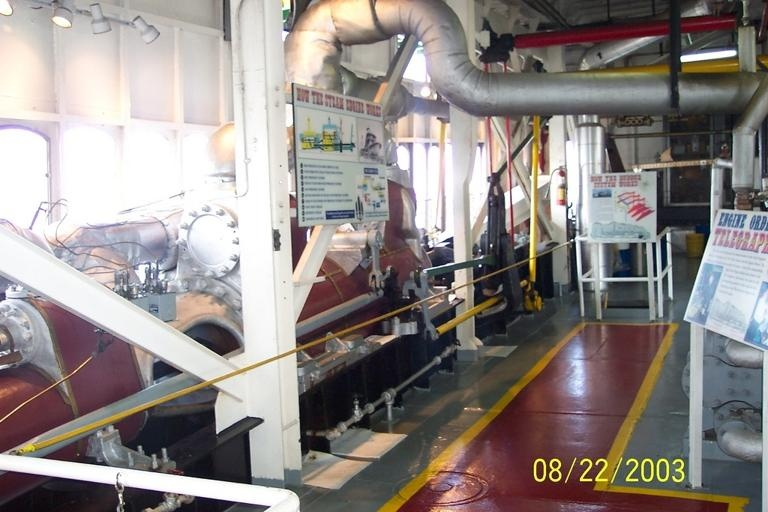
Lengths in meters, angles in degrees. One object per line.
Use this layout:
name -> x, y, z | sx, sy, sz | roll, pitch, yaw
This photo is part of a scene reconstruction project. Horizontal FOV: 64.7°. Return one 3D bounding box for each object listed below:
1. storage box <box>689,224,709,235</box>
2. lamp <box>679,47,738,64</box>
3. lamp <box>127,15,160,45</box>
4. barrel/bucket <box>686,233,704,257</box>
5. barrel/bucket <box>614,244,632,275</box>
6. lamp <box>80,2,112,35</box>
storage box -> 9.406, -0.796, 18.077 | 0.490, 0.342, 0.476 | -11, 11, -41
lamp -> 6.478, -4.050, 12.096 | 0.963, 0.222, 0.712 | 2, 11, 27
lamp -> -4.011, -3.816, 10.140 | 0.337, 0.578, 1.086 | -8, 11, -23
barrel/bucket -> 8.727, -0.314, 17.274 | 0.660, 0.650, 0.637 | -3, 8, 0
barrel/bucket -> 5.606, 0.057, 14.189 | 0.327, 0.643, 1.141 | 1, 11, 25
lamp -> -4.224, -3.554, 9.020 | 0.226, 0.396, 0.375 | -9, 11, -26
